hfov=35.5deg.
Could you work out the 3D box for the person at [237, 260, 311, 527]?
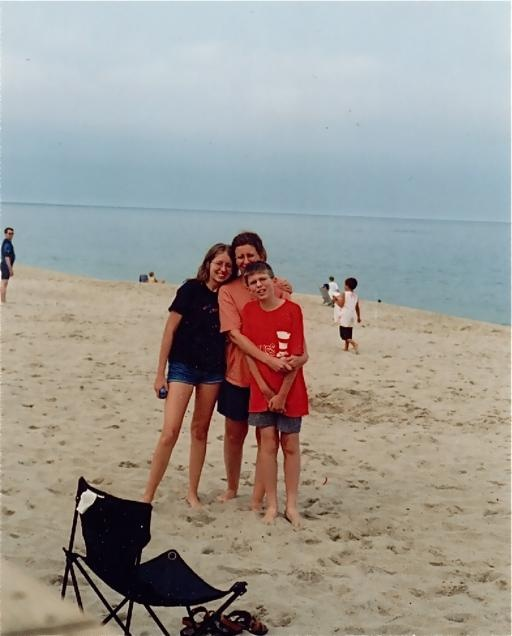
[{"bbox_3d":[0.113,0.515,5.426,0.497,1.782,0.334,4,8,-1],"label":"person"}]
